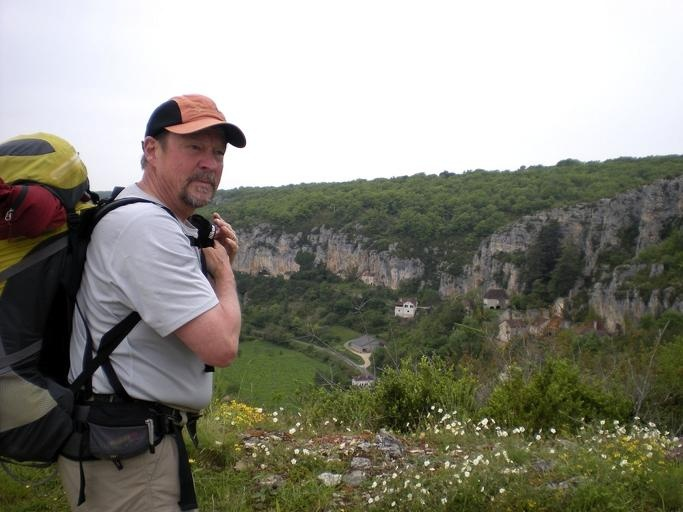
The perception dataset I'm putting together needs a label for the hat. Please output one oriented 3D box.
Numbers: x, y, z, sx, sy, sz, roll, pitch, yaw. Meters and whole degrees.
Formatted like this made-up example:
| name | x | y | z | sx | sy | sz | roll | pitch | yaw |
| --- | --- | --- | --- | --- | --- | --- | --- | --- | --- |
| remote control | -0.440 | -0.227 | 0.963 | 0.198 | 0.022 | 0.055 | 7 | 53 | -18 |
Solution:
| name | x | y | z | sx | sy | sz | roll | pitch | yaw |
| --- | --- | --- | --- | --- | --- | --- | --- | --- | --- |
| hat | -0.917 | -0.870 | 3.669 | 0.615 | 0.345 | 0.485 | -1 | 2 | 30 |
